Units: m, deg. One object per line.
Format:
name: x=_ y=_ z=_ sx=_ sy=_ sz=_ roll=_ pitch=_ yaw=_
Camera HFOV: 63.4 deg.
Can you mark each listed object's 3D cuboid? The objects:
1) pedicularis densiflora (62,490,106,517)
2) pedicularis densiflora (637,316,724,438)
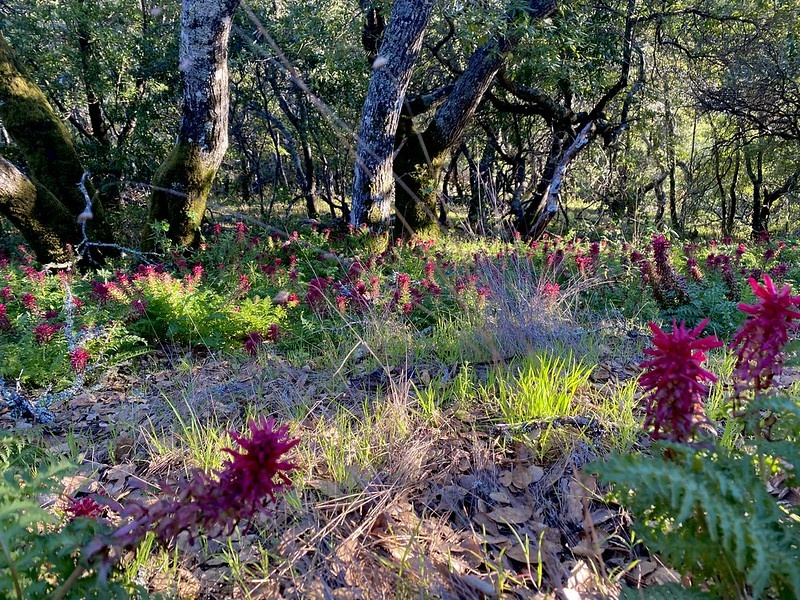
pedicularis densiflora: x=-1.585 y=1.032 z=3.238 sx=0.199 sy=0.110 sz=0.210 roll=21 pitch=-22 yaw=-23
pedicularis densiflora: x=1.314 y=0.400 z=3.092 sx=0.370 sy=0.629 sz=0.309 roll=3 pitch=10 yaw=0
